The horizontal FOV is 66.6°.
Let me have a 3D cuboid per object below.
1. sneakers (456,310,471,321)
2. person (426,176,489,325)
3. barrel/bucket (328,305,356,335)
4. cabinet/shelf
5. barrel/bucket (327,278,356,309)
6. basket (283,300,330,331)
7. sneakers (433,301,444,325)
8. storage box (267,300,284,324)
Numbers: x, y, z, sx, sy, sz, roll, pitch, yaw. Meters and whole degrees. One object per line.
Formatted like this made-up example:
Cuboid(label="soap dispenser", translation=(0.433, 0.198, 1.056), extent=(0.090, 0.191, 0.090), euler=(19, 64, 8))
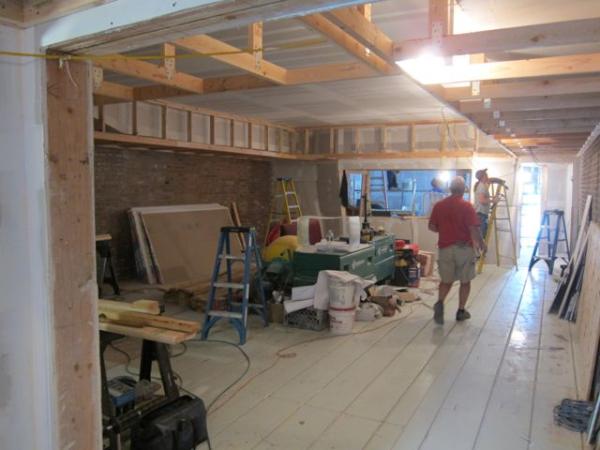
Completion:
Cuboid(label="sneakers", translation=(2.293, 1.258, 6.396), extent=(0.106, 0.110, 0.272), euler=(3, 4, 39))
Cuboid(label="person", translation=(2.146, 0.346, 6.301), extent=(0.639, 1.986, 0.448), euler=(0, 11, -3))
Cuboid(label="barrel/bucket", translation=(0.543, 1.217, 5.903), extent=(0.361, 0.278, 0.342), euler=(0, 0, 0))
Cuboid(label="cabinet/shelf", translation=(0.845, 0.621, 7.424), extent=(0.788, 0.767, 2.515), euler=(6, 7, 30))
Cuboid(label="barrel/bucket", translation=(0.554, 0.924, 5.982), extent=(0.352, 0.347, 0.357), euler=(-1, 9, 0))
Cuboid(label="basket", translation=(0.084, 1.219, 6.058), extent=(0.472, 0.265, 0.473), euler=(0, 0, -44))
Cuboid(label="sneakers", translation=(1.877, 1.194, 6.188), extent=(0.167, 0.330, 0.136), euler=(8, 13, 37))
Cuboid(label="storage box", translation=(-0.322, 1.190, 6.333), extent=(0.338, 0.305, 0.246), euler=(-1, -3, 25))
